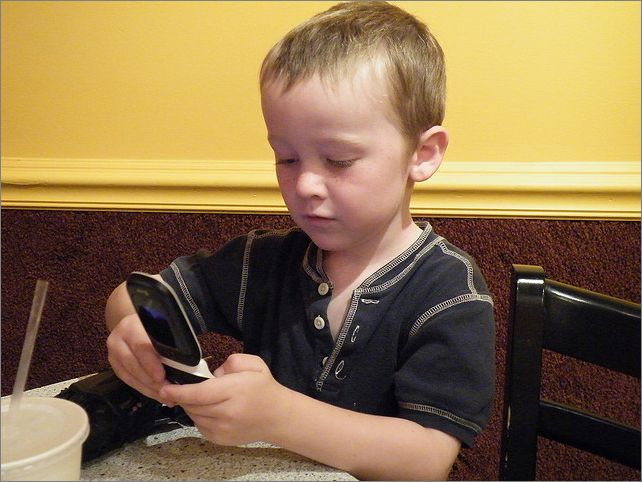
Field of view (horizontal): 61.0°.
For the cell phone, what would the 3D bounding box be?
[{"bbox_3d":[-0.180,0.109,0.642,0.087,0.174,0.045,7,26,27],"label":"cell phone"}]
